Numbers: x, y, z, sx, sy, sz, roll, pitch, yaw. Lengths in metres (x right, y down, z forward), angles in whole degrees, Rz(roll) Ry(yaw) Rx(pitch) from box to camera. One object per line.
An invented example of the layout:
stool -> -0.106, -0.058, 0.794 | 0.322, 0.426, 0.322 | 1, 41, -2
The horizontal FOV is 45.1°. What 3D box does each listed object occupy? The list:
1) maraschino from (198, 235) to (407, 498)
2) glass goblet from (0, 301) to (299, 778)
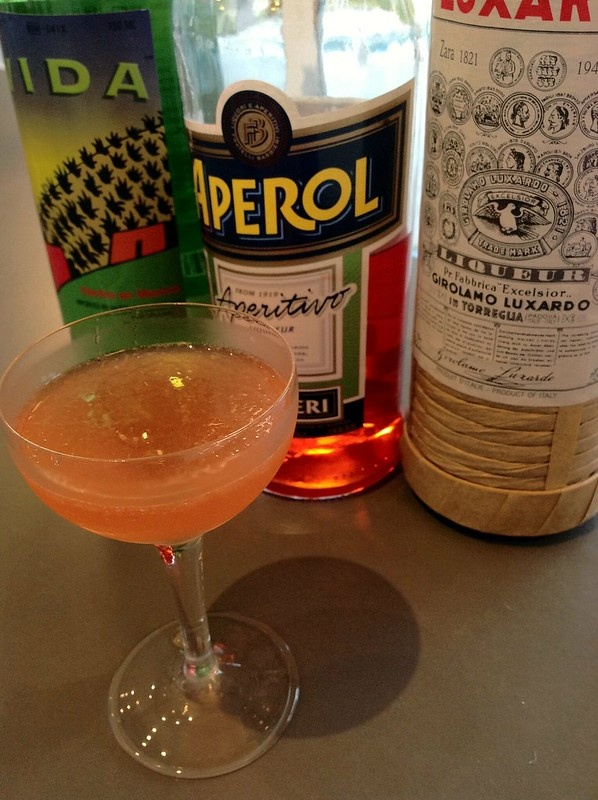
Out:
maraschino -> -0.011, -0.055, 0.588 | 0.176, 0.246, 0.160 | -4, 8, -12
glass goblet -> -0.081, 0.086, 0.410 | 0.154, 0.227, 0.150 | -31, 44, -28
